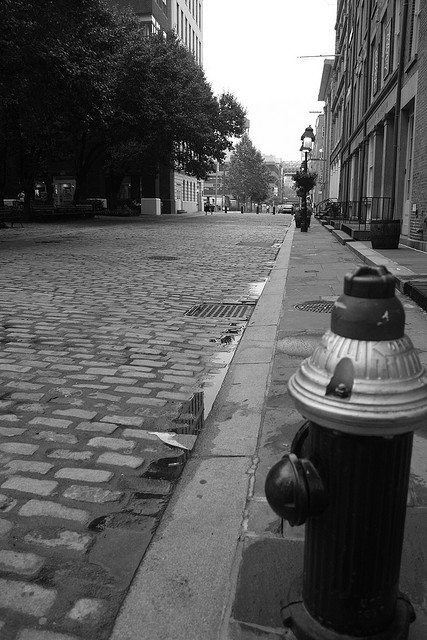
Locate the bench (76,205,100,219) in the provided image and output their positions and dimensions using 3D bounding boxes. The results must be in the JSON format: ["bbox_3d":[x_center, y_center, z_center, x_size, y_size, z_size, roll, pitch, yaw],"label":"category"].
[{"bbox_3d":[-8.665,-7.406,35.770,0.939,0.532,1.522,-6,24,-21],"label":"bench"}]

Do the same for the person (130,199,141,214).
[{"bbox_3d":[-7.180,-10.530,47.926,1.006,1.046,0.561,4,9,32],"label":"person"}]

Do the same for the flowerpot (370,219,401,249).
[{"bbox_3d":[4.195,-2.073,12.698,0.677,0.711,0.593,0,8,10],"label":"flowerpot"}]

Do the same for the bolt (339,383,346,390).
[{"bbox_3d":[0.301,0.155,1.218,0.009,0.011,0.010,-1,6,5],"label":"bolt"}]

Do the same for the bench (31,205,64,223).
[{"bbox_3d":[-10.151,-6.510,32.203,1.671,0.979,4.380,-4,10,-17],"label":"bench"}]

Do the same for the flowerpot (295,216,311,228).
[{"bbox_3d":[4.434,-4.877,26.544,0.638,0.652,0.637,8,16,37],"label":"flowerpot"}]
